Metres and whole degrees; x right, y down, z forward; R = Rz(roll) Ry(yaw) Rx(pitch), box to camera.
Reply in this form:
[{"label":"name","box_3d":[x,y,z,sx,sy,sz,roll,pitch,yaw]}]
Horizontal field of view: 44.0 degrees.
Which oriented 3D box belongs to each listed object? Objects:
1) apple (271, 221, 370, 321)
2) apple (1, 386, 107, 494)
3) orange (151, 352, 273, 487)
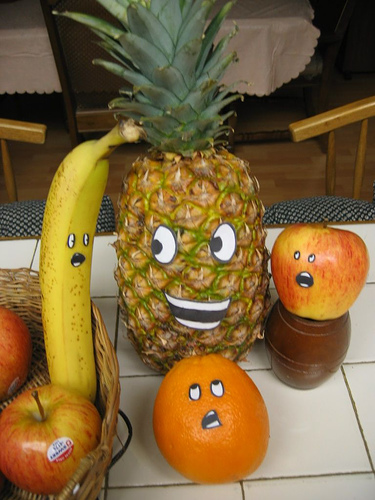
[{"label":"apple","box_3d":[0.180,0.021,0.643,0.119,0.139,0.137,8,8,44]},{"label":"apple","box_3d":[-0.148,0.195,0.497,0.108,0.091,0.104,-14,39,-15]},{"label":"orange","box_3d":[0.028,0.196,0.534,0.133,0.146,0.124,-5,11,11]}]
